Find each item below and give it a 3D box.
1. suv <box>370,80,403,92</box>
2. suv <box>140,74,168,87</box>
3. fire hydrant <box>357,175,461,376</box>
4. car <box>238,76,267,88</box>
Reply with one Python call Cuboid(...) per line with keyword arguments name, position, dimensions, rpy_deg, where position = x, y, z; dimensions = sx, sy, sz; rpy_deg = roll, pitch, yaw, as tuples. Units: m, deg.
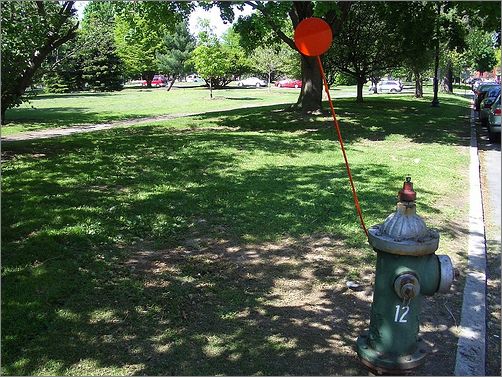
Cuboid(name="suv", position=(21.441, -16.050, 63.092), dimensions=(2.729, 1.842, 4.154), rpy_deg=(-5, 13, -23))
Cuboid(name="suv", position=(-19.935, -21.205, 79.518), dimensions=(5.433, 2.211, 2.868), rpy_deg=(6, 19, 13))
Cuboid(name="fire hydrant", position=(1.499, 0.896, 3.898), dimensions=(0.839, 2.004, 0.567), rpy_deg=(3, 13, 13))
Cuboid(name="car", position=(-0.165, -20.734, 79.022), dimensions=(6.359, 1.749, 2.487), rpy_deg=(3, 17, 4))
